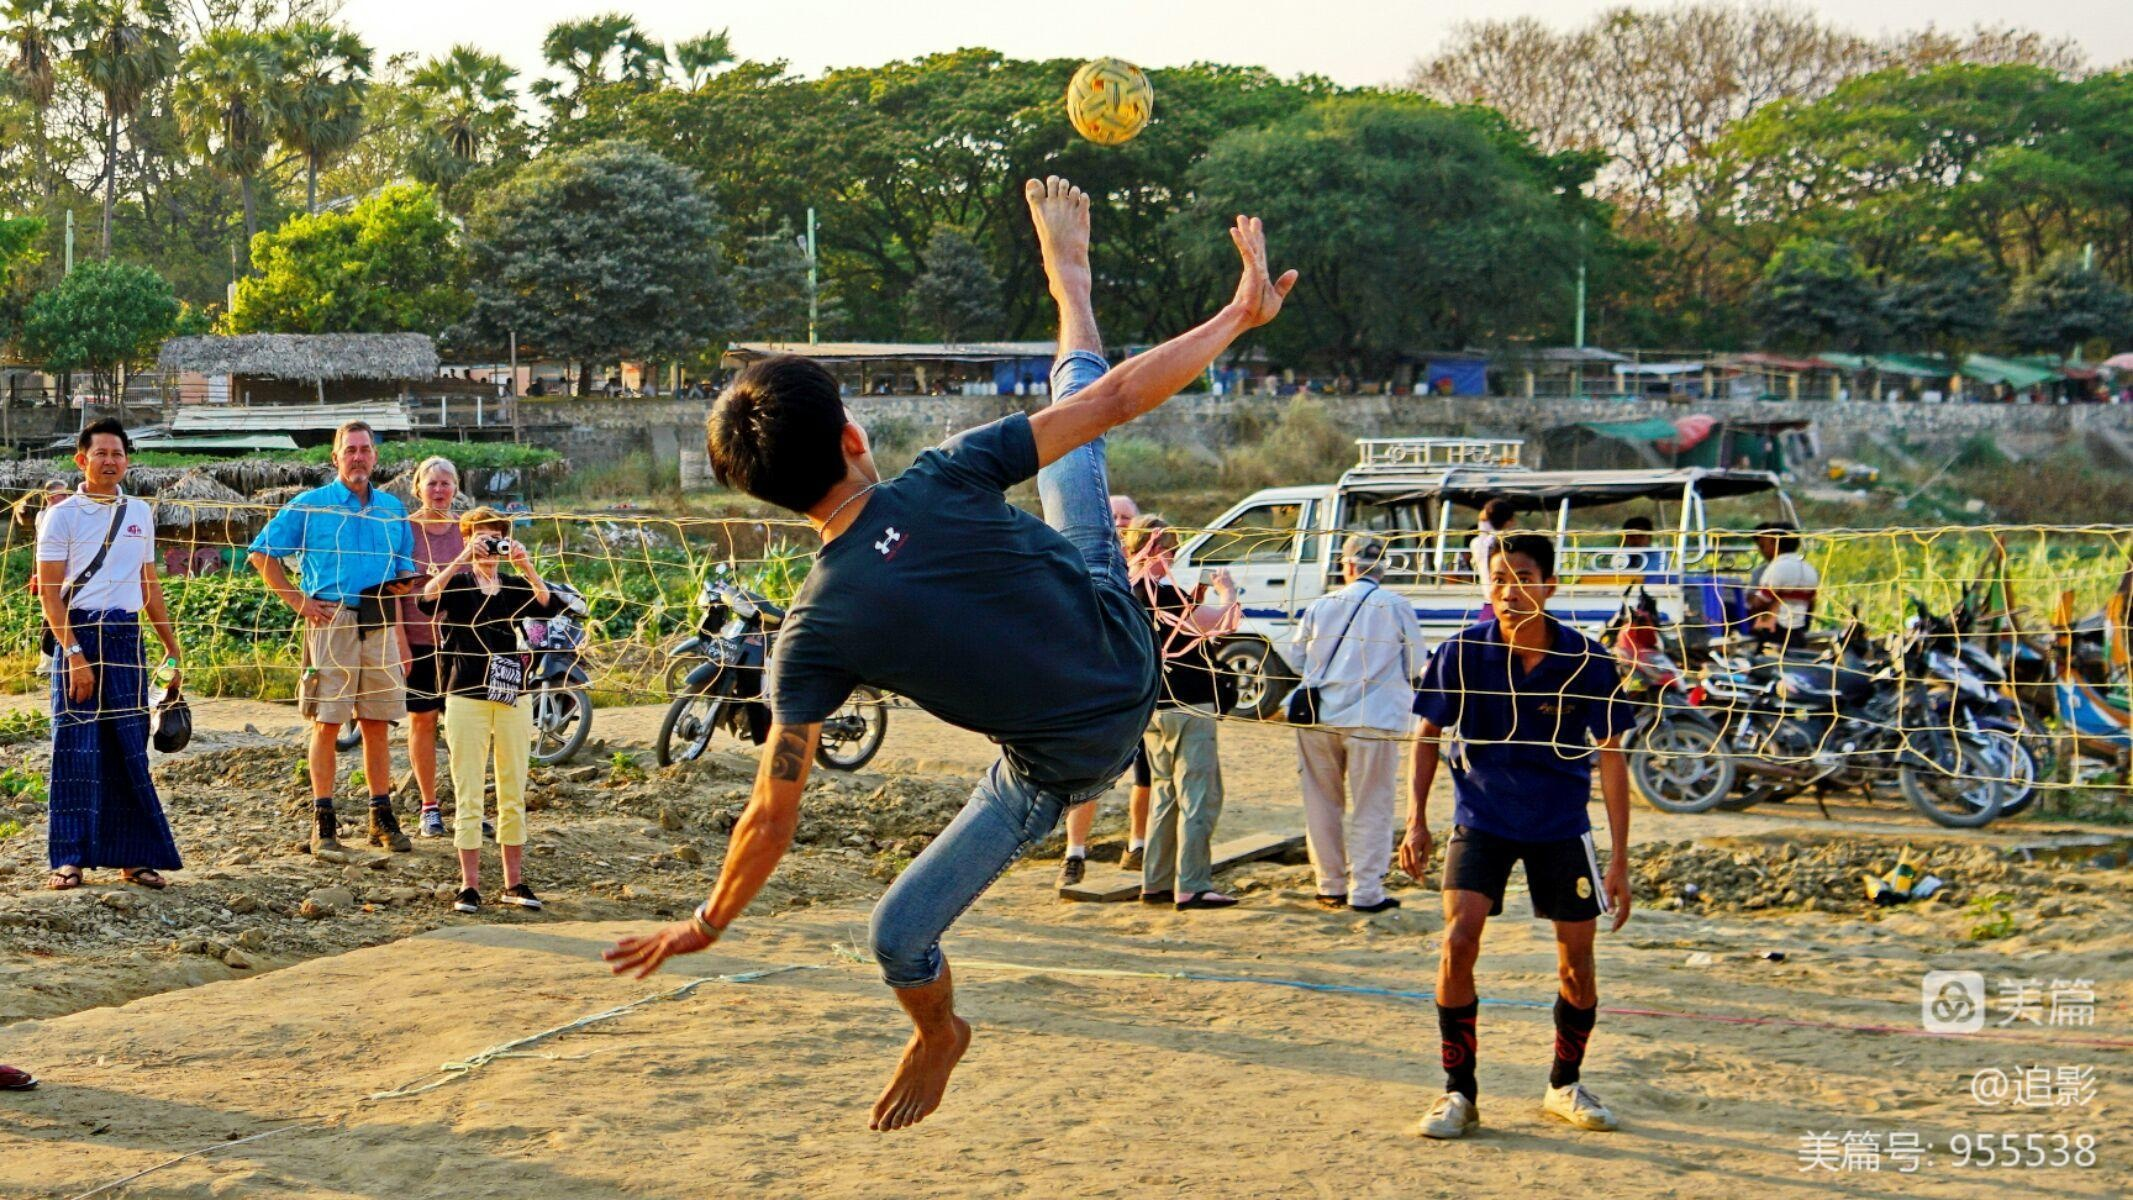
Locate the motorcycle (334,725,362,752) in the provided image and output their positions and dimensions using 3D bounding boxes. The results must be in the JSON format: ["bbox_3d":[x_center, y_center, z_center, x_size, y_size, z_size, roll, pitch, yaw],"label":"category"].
[{"bbox_3d":[-12.787,2.520,43.379,0.615,0.531,0.143,-2,-15,39],"label":"motorcycle"}]

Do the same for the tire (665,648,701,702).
[{"bbox_3d":[-7.063,1.428,45.143,1.048,0.841,0.219,0,-17,20],"label":"tire"}]

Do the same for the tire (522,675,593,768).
[{"bbox_3d":[-9.229,2.224,44.033,1.532,1.393,0.484,-29,0,6],"label":"tire"}]

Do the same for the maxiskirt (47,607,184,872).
[{"bbox_3d":[-15.949,2.363,40.532,1.785,4.358,0.428,0,0,-18],"label":"maxiskirt"}]

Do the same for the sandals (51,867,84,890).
[{"bbox_3d":[-16.602,4.678,40.401,0.251,0.263,0.696,2,-11,-29],"label":"sandals"}]

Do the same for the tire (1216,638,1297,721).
[{"bbox_3d":[3.647,1.623,47.381,1.959,1.692,0.688,4,8,41],"label":"tire"}]

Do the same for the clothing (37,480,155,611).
[{"bbox_3d":[-16.155,-0.827,40.557,2.583,2.350,1.529,-2,1,-39],"label":"clothing"}]

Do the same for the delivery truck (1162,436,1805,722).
[{"bbox_3d":[8.354,-0.423,48.081,12.956,5.394,3.991,0,-1,25],"label":"delivery truck"}]

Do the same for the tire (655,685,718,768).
[{"bbox_3d":[-6.886,2.378,44.547,0.543,1.092,1.153,21,46,28],"label":"tire"}]
